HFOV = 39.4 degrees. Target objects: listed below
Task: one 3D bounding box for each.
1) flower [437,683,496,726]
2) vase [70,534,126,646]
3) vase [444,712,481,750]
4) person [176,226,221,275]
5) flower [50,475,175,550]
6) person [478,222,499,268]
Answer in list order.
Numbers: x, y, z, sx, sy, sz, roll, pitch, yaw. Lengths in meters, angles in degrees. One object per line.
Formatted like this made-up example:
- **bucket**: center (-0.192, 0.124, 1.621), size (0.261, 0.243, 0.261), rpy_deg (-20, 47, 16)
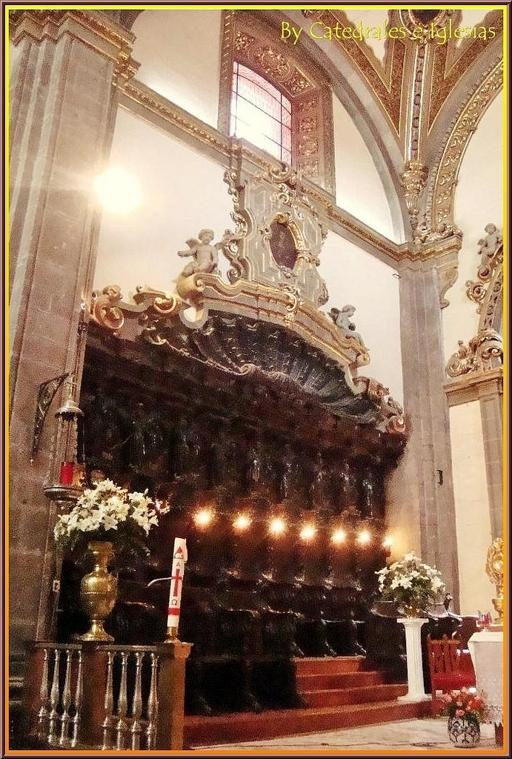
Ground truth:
- **flower**: center (1.680, 2.487, 5.594), size (0.409, 0.297, 0.408), rpy_deg (-1, -19, 33)
- **vase**: center (-0.972, 1.300, 4.423), size (0.216, 0.607, 0.489), rpy_deg (4, -18, -13)
- **vase**: center (1.601, 2.663, 5.466), size (0.246, 0.233, 0.249), rpy_deg (4, -18, -6)
- **person**: center (-0.750, -1.611, 9.201), size (0.311, 0.778, 0.596), rpy_deg (-9, -19, 26)
- **flower**: center (-0.994, 0.861, 4.654), size (0.639, 0.407, 0.456), rpy_deg (1, -17, -3)
- **person**: center (3.977, -2.281, 12.189), size (0.168, 0.737, 0.522), rpy_deg (13, -22, -37)
